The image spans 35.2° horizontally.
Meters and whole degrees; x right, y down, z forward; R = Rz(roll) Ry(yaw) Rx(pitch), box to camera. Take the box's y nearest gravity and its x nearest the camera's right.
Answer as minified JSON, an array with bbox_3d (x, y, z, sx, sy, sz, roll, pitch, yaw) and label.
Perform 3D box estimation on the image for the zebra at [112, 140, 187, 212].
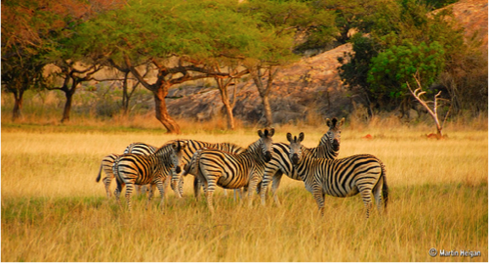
[{"bbox_3d":[-6.364,3.117,52.056,4.494,4.048,1.582,-1,0,-16],"label":"zebra"}]

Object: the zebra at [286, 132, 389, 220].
[{"bbox_3d":[6.419,3.640,50.666,7.094,5.333,3.197,1,1,15],"label":"zebra"}]
